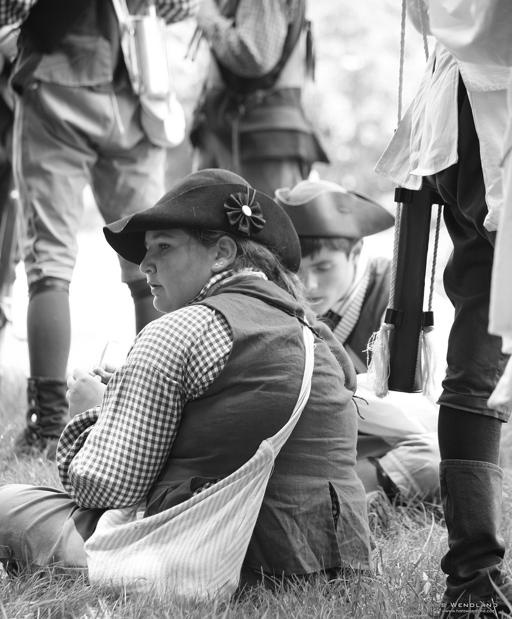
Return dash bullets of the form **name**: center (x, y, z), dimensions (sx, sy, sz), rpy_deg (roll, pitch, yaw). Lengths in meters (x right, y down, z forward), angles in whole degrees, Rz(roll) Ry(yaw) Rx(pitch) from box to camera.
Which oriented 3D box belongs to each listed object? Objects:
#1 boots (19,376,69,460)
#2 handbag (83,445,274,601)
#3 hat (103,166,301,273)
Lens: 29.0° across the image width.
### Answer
- **boots**: center (-0.669, 0.342, 3.163), dimensions (0.202, 0.308, 0.232), rpy_deg (6, -4, -10)
- **handbag**: center (-0.140, 0.448, 2.024), dimensions (0.342, 0.342, 0.244), rpy_deg (4, -14, 9)
- **hat**: center (-0.110, -0.224, 2.336), dimensions (0.457, 0.235, 0.346), rpy_deg (8, -7, -20)
